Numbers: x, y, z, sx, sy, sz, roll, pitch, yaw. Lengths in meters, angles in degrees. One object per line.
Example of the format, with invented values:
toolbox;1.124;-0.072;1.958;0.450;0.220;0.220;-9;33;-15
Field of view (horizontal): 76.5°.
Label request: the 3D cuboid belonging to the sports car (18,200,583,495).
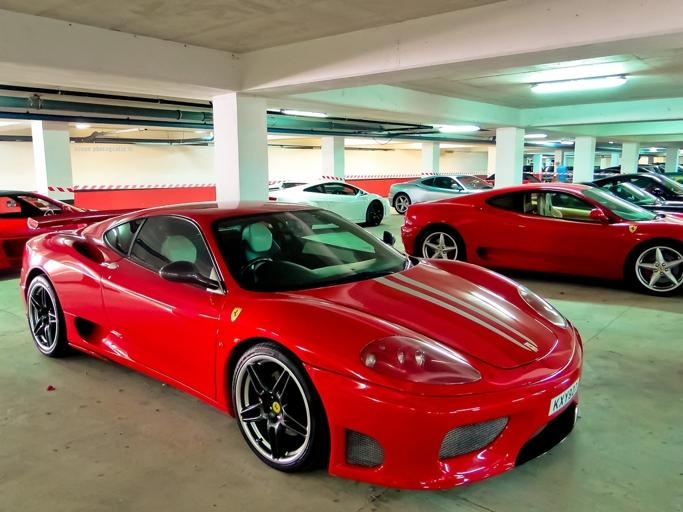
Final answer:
sports car;-0.612;0.321;2.999;3.770;0.798;1.726;7;11;32
